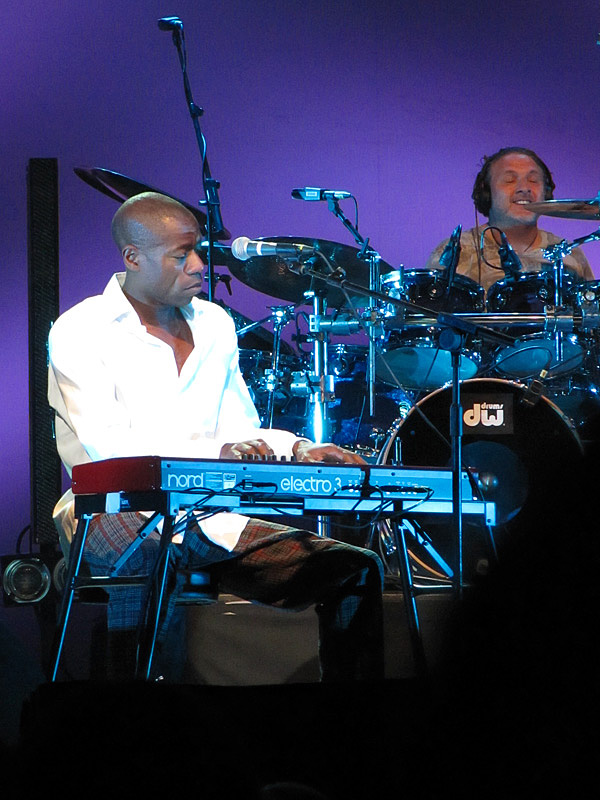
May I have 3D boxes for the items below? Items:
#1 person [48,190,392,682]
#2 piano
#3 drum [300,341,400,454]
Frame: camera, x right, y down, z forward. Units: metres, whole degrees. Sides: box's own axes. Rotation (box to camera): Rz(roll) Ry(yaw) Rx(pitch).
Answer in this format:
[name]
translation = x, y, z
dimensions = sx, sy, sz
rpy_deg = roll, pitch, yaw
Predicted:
[person]
translation = -0.258, 0.012, 2.398
dimensions = 0.701, 1.195, 1.132
rpy_deg = -1, 3, -14
[piano]
translation = -0.049, 0.160, 1.977
dimensions = 0.772, 0.120, 0.210
rpy_deg = -1, 2, -20
[drum]
translation = 0.272, -0.030, 4.206
dimensions = 0.430, 0.443, 0.562
rpy_deg = 9, 8, 39
